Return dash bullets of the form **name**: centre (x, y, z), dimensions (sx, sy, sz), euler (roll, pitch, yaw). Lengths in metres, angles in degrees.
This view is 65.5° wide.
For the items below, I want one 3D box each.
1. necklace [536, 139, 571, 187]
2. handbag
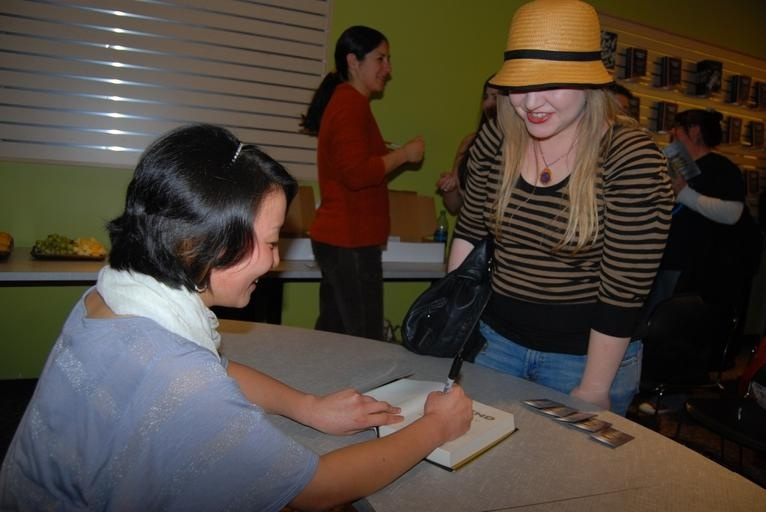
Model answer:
- **necklace**: centre (0.631, -0.339, 2.179), dimensions (0.141, 0.141, 0.087), euler (18, 24, 39)
- **handbag**: centre (0.272, 0.209, 2.401), dimensions (0.326, 0.625, 0.249), euler (15, -25, 7)
